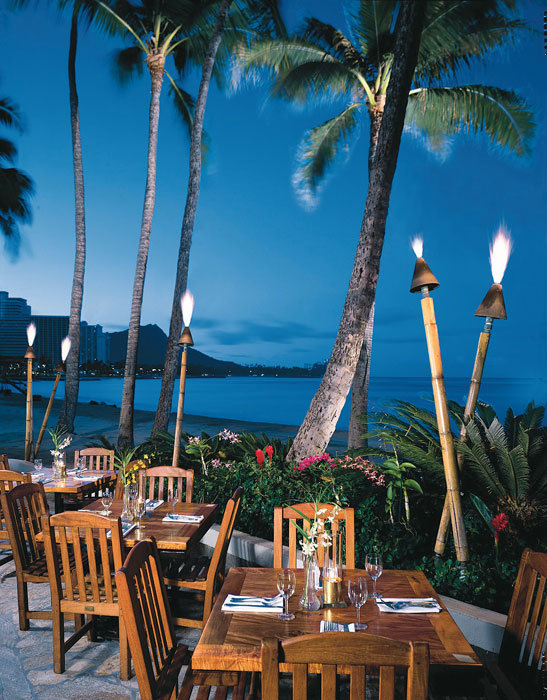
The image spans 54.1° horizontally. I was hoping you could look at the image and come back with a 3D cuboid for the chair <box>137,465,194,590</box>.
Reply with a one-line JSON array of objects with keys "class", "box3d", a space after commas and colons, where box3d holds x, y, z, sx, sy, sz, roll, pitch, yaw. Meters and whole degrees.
[{"class": "chair", "box3d": [-0.884, 1.417, 4.453, 0.557, 0.772, 0.550, 4, 1, -1]}]
